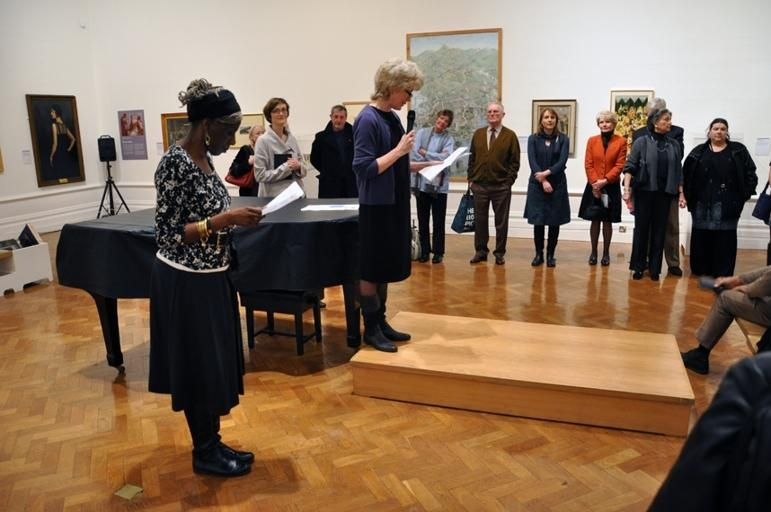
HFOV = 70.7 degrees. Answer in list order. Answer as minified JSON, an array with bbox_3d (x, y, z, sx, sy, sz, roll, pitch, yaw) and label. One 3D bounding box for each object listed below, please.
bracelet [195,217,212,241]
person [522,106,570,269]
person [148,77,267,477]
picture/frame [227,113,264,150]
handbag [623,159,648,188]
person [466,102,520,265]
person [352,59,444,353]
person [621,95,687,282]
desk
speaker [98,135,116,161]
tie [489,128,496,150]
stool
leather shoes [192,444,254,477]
[{"bbox_3d":[-1.032,-0.150,3.192,0.115,0.113,0.094,-4,5,6],"label":"bracelet"},{"bbox_3d":[2.252,-0.957,7.552,0.599,2.136,0.620,3,14,15],"label":"person"},{"bbox_3d":[-1.108,0.206,3.331,0.649,2.496,0.433,2,13,13],"label":"person"},{"bbox_3d":[-2.660,-2.492,10.599,0.768,0.537,0.028,-6,-10,32],"label":"picture/frame"},{"bbox_3d":[3.121,-1.040,6.774,0.380,0.370,0.167,-2,-1,1],"label":"handbag"},{"bbox_3d":[1.494,-0.887,7.618,0.679,1.966,0.386,1,13,9],"label":"person"},{"bbox_3d":[0.033,-0.357,4.303,0.527,2.267,0.391,-2,13,-5],"label":"person"},{"bbox_3d":[3.320,-0.782,6.839,0.587,2.083,0.610,9,16,36],"label":"person"},{"bbox_3d":[-1.374,0.076,4.866,1.968,0.998,1.539,-1,9,0],"label":"desk"},{"bbox_3d":[-5.719,-2.260,11.255,0.327,0.549,0.128,-5,-1,-15],"label":"speaker"},{"bbox_3d":[1.469,-1.638,7.453,0.097,0.252,0.086,4,14,19],"label":"tie"},{"bbox_3d":[-0.961,0.593,5.227,0.731,0.553,0.618,1,6,30],"label":"stool"},{"bbox_3d":[-1.074,1.328,3.594,0.318,0.134,0.207,-1,5,1],"label":"leather shoes"}]
